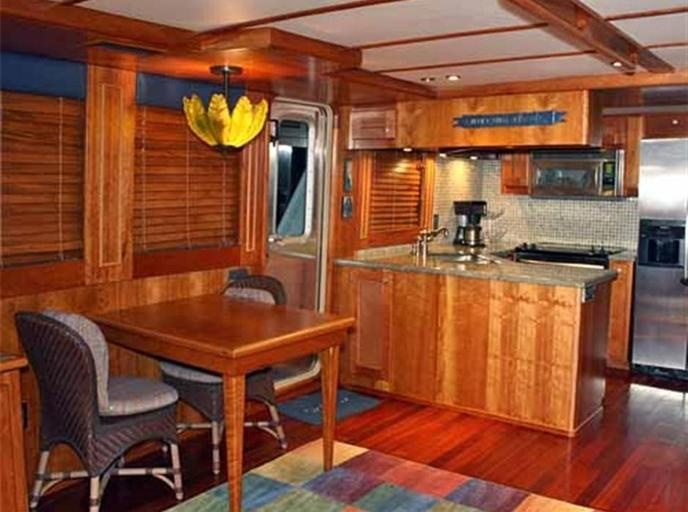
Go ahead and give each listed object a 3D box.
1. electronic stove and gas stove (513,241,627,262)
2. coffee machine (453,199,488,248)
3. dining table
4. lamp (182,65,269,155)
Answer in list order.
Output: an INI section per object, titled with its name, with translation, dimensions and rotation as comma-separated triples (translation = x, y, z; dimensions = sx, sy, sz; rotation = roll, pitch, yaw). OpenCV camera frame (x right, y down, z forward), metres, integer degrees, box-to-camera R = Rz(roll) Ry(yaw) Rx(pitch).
[electronic stove and gas stove]
translation = 2.620, -0.025, 6.456
dimensions = 1.176, 0.190, 0.639
rotation = 5, 9, 30
[coffee machine]
translation = 1.567, -0.397, 6.756
dimensions = 0.434, 0.547, 0.322
rotation = 0, 8, -3
[dining table]
translation = -0.717, 0.463, 3.610
dimensions = 1.778, 1.038, 1.215
rotation = 5, 10, 40
[lamp]
translation = -0.749, -0.865, 3.528
dimensions = 0.643, 0.496, 0.556
rotation = 0, 3, -8
